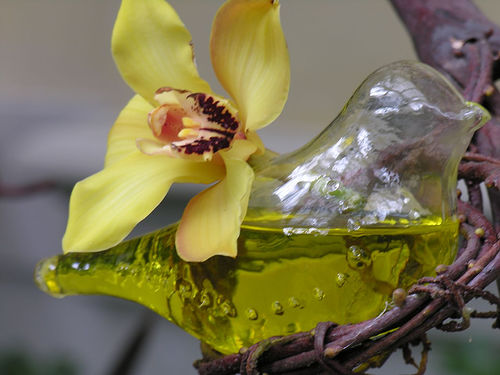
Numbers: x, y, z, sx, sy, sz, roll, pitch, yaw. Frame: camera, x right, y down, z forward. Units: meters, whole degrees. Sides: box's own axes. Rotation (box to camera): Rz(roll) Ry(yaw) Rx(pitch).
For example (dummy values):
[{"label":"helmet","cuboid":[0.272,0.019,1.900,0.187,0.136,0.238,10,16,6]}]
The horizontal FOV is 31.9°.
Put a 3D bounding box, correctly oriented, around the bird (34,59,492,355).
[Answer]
[{"label":"bird","cuboid":[0.014,0.010,0.859,0.377,0.233,0.203,-10,6,5]}]
